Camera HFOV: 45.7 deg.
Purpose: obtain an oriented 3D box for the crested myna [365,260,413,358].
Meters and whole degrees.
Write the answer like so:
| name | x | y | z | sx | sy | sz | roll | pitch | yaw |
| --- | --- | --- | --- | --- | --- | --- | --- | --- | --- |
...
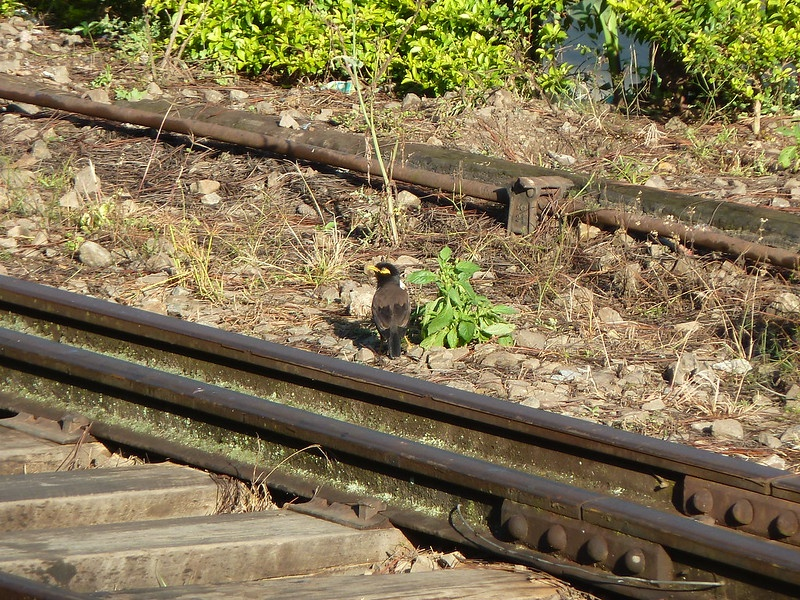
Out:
| name | x | y | z | sx | sy | sz | roll | pitch | yaw |
| --- | --- | --- | --- | --- | --- | --- | --- | --- | --- |
| crested myna | -0.115 | 0.053 | 5.946 | 0.250 | 0.413 | 0.596 | -19 | 42 | 14 |
